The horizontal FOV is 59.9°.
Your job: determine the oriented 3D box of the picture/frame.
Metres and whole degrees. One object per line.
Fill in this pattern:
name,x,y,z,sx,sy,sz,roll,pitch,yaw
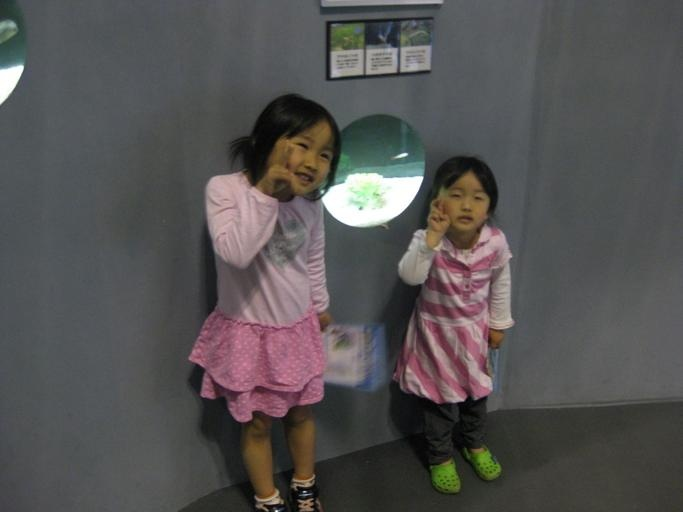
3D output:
picture/frame,0.123,-0.562,1.608,0.309,0.154,0.002,-9,18,-19

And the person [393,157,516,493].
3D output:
person,0.368,0.202,1.842,0.412,1.007,0.275,-5,14,-5
